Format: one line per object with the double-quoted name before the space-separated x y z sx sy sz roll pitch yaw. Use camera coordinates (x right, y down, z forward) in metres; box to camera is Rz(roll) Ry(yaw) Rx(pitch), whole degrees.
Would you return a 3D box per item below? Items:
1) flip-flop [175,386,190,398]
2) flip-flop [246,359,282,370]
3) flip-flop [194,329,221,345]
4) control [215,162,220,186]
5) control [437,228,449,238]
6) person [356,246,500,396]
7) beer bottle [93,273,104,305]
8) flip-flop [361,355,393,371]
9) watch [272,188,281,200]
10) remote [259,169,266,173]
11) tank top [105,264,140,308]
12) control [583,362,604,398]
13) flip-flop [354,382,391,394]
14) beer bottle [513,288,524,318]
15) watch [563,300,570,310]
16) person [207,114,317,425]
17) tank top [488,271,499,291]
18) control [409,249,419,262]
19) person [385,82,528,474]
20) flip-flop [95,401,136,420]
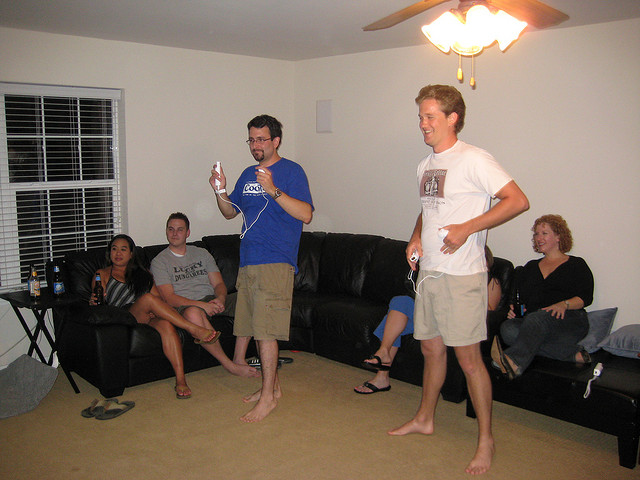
"flip-flop" -1.023 1.131 3.483 0.098 0.070 0.078 -2 12 -13
"flip-flop" -0.496 1.035 3.949 0.190 0.055 0.202 0 2 -38
"flip-flop" -0.868 0.747 3.591 0.178 0.033 0.096 -8 6 34
"control" -0.718 -0.459 3.265 0.035 0.155 0.046 -2 12 -8
"control" 0.668 -0.038 2.532 0.041 0.033 0.075 3 11 13
"person" 0.756 0.678 3.928 1.136 1.160 1.001 4 -2 -19
"beer bottle" -1.767 0.388 3.732 0.074 0.234 0.107 -5 13 -25
"flip-flop" 0.411 0.880 3.376 0.259 0.094 0.086 11 -13 -29
"watch" -0.268 -0.290 2.942 0.057 0.060 0.038 -30 -50 33
"remote" -0.364 -0.431 2.914 0.018 0.017 0.050 -9 14 -37
"tank top" -1.580 0.345 3.801 0.267 0.371 0.204 -4 46 -28
"control" 1.674 0.865 2.858 0.040 0.060 0.264 -13 19 48
"flip-flop" 0.417 1.132 3.568 0.234 0.059 0.093 2 1 -18
"beer bottle" 1.538 0.490 3.616 0.078 0.298 0.086 32 -34 -35
"watch" 1.765 0.466 3.341 0.029 0.042 0.044 -9 20 -24
"person" -0.435 0.158 3.403 0.642 2.052 0.940 -3 12 -16
"tank top" 1.373 0.299 3.670 0.066 0.138 0.177 8 14 36
"control" 0.556 0.090 2.746 0.040 0.071 0.021 28 11 9
"person" 0.745 0.222 2.703 0.404 2.173 0.675 -8 14 -33
"flip-flop" -1.427 1.186 3.281 0.205 0.039 0.230 1 11 2
